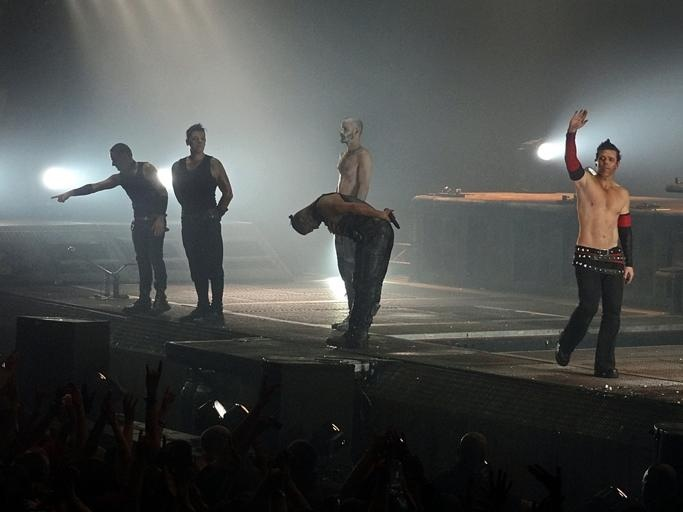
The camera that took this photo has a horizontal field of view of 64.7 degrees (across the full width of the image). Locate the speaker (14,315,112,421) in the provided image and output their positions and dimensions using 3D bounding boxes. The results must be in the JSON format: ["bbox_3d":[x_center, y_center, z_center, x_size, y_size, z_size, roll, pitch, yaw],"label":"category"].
[{"bbox_3d":[-2.467,0.964,4.747,1.036,0.994,0.366,-1,-2,26],"label":"speaker"}]

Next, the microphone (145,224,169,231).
[{"bbox_3d":[-2.388,-0.362,7.056,0.180,0.045,0.190,1,-4,-3],"label":"microphone"}]

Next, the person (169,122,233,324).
[{"bbox_3d":[-1.660,-0.396,6.370,0.696,2.302,0.524,1,1,-7],"label":"person"}]

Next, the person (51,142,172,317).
[{"bbox_3d":[-2.766,-0.362,7.035,1.056,2.158,0.507,1,1,-7],"label":"person"}]

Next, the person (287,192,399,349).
[{"bbox_3d":[0.062,0.133,5.153,0.856,1.456,0.242,2,2,17],"label":"person"}]

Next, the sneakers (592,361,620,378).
[{"bbox_3d":[2.103,0.894,4.282,0.169,0.108,0.100,-4,-2,29],"label":"sneakers"}]
